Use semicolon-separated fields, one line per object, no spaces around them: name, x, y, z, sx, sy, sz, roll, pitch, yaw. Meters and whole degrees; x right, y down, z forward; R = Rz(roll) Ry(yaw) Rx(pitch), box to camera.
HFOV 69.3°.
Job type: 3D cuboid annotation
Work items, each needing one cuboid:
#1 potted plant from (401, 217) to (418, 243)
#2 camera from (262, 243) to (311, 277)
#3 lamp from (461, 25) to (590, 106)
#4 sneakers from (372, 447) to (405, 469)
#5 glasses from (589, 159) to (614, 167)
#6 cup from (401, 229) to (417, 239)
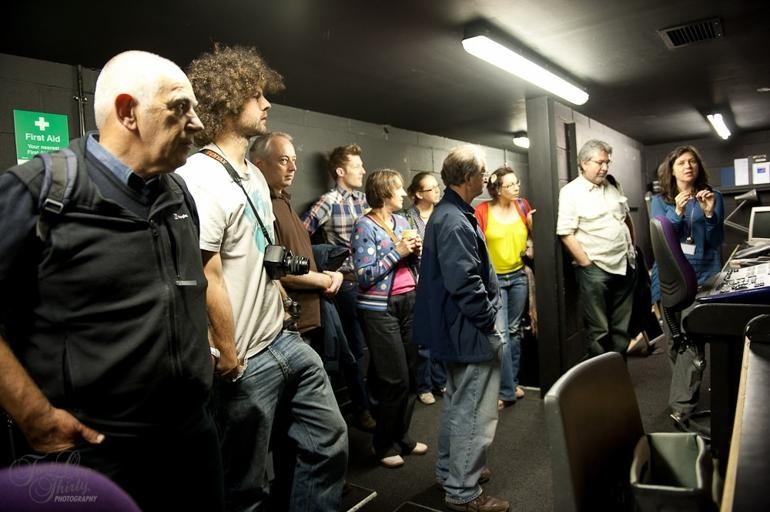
potted plant;0.196;-0.188;3.991;0.119;0.185;0.191;-1;-2;4
camera;-0.470;0.020;2.673;0.206;0.125;0.191;8;-25;12
lamp;1.033;-1.376;4.170;0.136;0.076;1.053;-25;-21;37
sneakers;0.048;1.343;3.705;0.090;0.085;0.226;3;-11;-21
glasses;1.835;-0.814;4.835;0.157;0.048;0.155;-2;4;-17
cup;0.175;-0.162;3.912;0.064;0.050;0.066;-2;1;0
